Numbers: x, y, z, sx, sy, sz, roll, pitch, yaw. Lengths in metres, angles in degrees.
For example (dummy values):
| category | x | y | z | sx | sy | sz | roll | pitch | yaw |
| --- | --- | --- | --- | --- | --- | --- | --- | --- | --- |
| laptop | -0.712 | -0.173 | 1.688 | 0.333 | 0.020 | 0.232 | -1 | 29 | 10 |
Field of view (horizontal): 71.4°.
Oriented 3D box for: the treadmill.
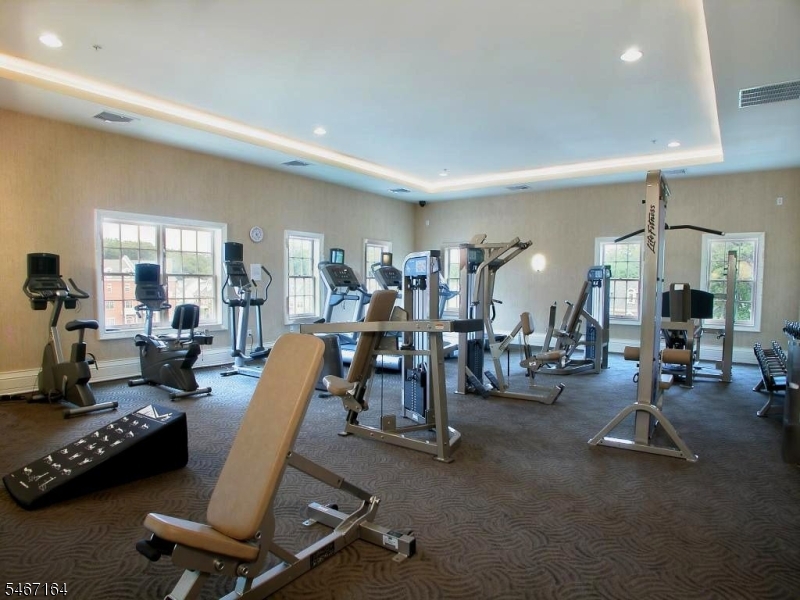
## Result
| category | x | y | z | sx | sy | sz | roll | pitch | yaw |
| --- | --- | --- | --- | --- | --- | --- | --- | --- | --- |
| treadmill | 0.185 | 0.118 | 5.880 | 1.468 | 1.243 | 1.956 | 1 | 3 | 15 |

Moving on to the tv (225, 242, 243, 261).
| category | x | y | z | sx | sy | sz | roll | pitch | yaw |
| --- | --- | --- | --- | --- | --- | --- | --- | --- | --- |
| tv | -2.502 | -0.712 | 8.292 | 0.279 | 0.303 | 0.278 | 1 | 4 | 18 |

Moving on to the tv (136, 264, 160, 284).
| category | x | y | z | sx | sy | sz | roll | pitch | yaw |
| --- | --- | --- | --- | --- | --- | --- | --- | --- | --- |
| tv | -3.350 | -0.336 | 7.345 | 0.138 | 0.249 | 0.267 | 6 | 5 | 43 |

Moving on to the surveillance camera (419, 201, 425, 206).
| category | x | y | z | sx | sy | sz | roll | pitch | yaw |
| --- | --- | --- | --- | --- | --- | --- | --- | --- | --- |
| surveillance camera | 0.525 | -2.238 | 13.036 | 0.161 | 0.123 | 0.214 | 0 | 3 | -5 |
